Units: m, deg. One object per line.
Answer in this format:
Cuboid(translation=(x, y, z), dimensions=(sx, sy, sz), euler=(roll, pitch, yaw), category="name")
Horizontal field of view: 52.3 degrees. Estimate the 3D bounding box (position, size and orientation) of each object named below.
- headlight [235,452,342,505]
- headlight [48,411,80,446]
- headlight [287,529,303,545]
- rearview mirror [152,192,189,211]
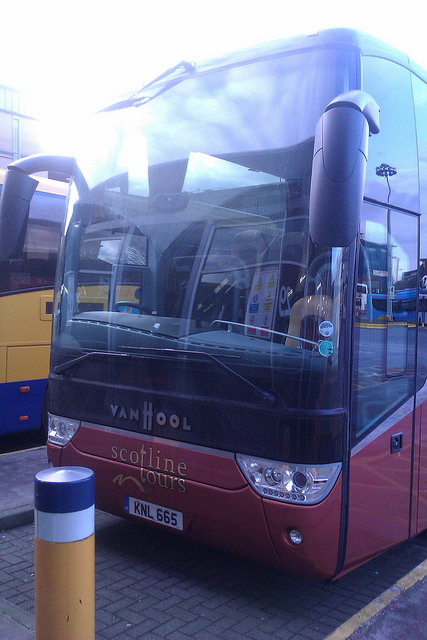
Cuboid(translation=(0.352, 0.783, 2.126), dimensions=(0.522, 0.203, 0.117), euler=(-2, -8, 21), category="headlight")
Cuboid(translation=(-1.145, 0.828, 3.360), dimensions=(0.190, 0.135, 0.268), euler=(8, 5, 30), category="headlight")
Cuboid(translation=(0.400, 1.048, 2.108), dimensions=(0.080, 0.102, 0.030), euler=(-4, -5, 41), category="headlight")
Cuboid(translation=(-0.288, -0.753, 2.872), dimensions=(0.104, 0.154, 0.312), euler=(-9, 9, -38), category="rearview mirror")
